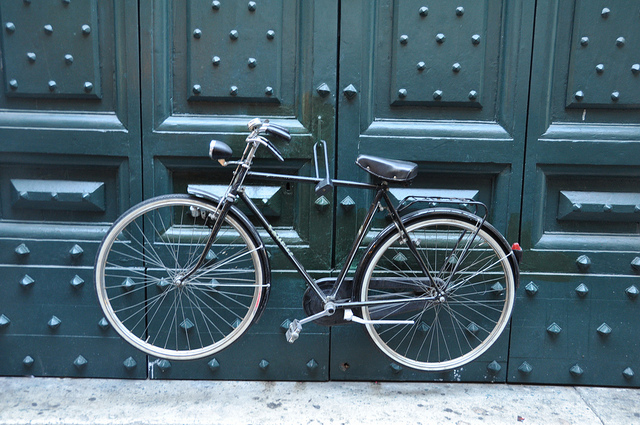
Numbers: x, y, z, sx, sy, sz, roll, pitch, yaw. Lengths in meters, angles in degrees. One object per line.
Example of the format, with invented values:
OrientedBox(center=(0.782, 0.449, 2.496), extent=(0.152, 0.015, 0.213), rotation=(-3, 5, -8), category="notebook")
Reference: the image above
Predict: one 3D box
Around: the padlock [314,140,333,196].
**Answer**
OrientedBox(center=(0.043, -0.350, 4.902), extent=(0.041, 0.343, 0.078), rotation=(-12, 7, 22), category="padlock")
